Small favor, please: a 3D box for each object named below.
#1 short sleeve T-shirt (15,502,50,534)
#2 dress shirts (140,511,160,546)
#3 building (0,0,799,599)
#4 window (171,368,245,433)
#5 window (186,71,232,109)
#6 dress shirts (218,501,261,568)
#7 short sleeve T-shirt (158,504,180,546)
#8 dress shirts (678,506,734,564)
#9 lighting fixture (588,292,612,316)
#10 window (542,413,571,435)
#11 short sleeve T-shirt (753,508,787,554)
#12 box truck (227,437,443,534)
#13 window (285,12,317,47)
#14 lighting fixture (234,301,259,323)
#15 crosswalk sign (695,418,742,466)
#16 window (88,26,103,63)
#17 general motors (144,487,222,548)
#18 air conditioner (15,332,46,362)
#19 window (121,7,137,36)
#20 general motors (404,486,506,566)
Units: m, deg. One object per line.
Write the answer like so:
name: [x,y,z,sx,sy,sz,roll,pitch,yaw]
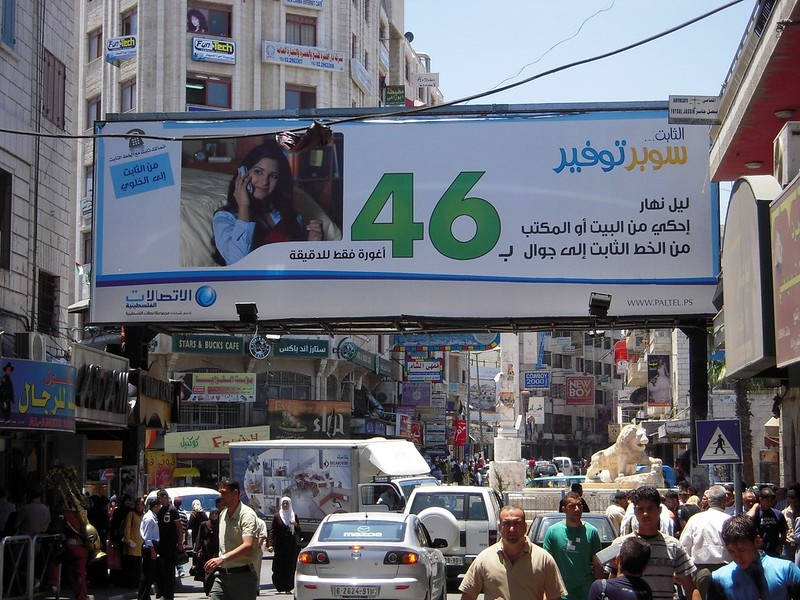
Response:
short sleeve T-shirt: [-7.289,4.344,25.437,0.491,0.627,0.331,12,6,-23]
dress shirts: [-5.443,4.992,27.724,0.465,0.873,0.935,-1,-4,-8]
building: [-1.295,-0.056,34.635,17.879,5.321,12.709,-1,-23,6]
window: [-8.511,4.319,56.190,3.428,3.964,0.578,1,-7,-12]
window: [-8.931,-9.720,59.231,1.757,1.158,0.192,3,-12,-28]
dress shirts: [-2.662,3.805,20.713,0.786,1.015,0.496,-3,0,36]
short sleeve T-shirt: [-5.095,4.975,28.148,0.698,0.896,0.483,2,-14,-6]
dress shirts: [5.259,3.982,21.893,1.000,0.907,0.548,-4,10,3]
lighting fixture: [4.814,0.048,31.265,0.430,0.565,0.643,7,-29,9]
window: [14.909,12.522,129.272,3.837,2.214,2.516,3,-8,-44]
short sleeve T-shirt: [6.683,4.239,23.415,0.650,0.874,0.453,1,-6,0]
box truck: [-2.174,5.841,38.345,5.394,3.160,3.757,0,-1,9]
window: [-4.883,-13.141,62.017,1.704,1.842,0.178,3,8,-26]
lighting fixture: [-3.849,0.313,32.319,0.544,0.515,0.603,2,-5,-5]
crosswalk sign: [6.278,2.805,25.332,1.090,1.209,0.083,-1,-5,4]
window: [-14.786,-12.434,62.246,0.126,1.771,1.833,2,0,-32]
general motors: [-6.512,6.942,39.009,2.817,1.529,1.664,-14,-6,31]
air conditioner: [-8.134,1.006,28.313,0.671,0.607,0.872,4,-5,-23]
window: [-12.690,-13.113,60.164,0.099,1.445,1.344,-3,7,-30]
general motors: [1.542,5.228,30.559,1.373,1.286,2.497,0,4,7]
